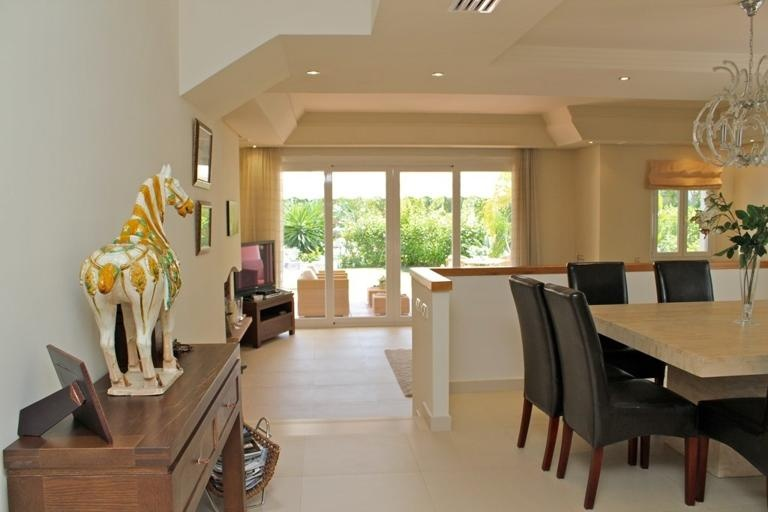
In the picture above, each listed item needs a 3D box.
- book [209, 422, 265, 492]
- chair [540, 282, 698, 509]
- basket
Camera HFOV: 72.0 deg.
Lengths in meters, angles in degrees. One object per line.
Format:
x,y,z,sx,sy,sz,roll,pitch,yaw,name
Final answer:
-0.856,1.243,3.239,0.249,0.108,0.325,3,4,40,book
1.430,0.840,3.302,0.831,1.333,0.411,-2,6,-2,chair
-0.841,1.256,3.411,0.389,0.221,0.545,9,24,-12,basket
